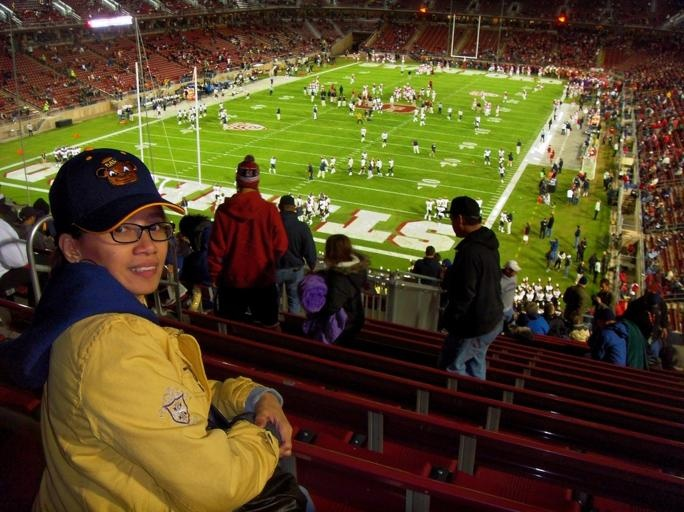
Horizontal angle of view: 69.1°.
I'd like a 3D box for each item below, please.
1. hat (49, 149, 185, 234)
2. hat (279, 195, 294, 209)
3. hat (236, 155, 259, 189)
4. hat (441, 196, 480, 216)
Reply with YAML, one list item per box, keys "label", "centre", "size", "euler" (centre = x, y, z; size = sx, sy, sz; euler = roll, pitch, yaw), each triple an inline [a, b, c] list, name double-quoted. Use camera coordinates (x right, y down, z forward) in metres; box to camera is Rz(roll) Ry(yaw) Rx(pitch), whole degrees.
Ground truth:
- label: "hat"
  centre: [-0.815, -0.225, 1.779]
  size: [0.404, 0.207, 0.290]
  euler: [1, 15, 29]
- label: "hat"
  centre: [-0.741, -0.759, 6.947]
  size: [0.197, 0.195, 0.197]
  euler: [-4, -10, 31]
- label: "hat"
  centre: [-1.040, -0.887, 5.469]
  size: [0.233, 0.279, 0.176]
  euler: [0, 14, -11]
- label: "hat"
  centre: [1.211, -0.516, 4.943]
  size: [0.224, 0.175, 0.311]
  euler: [-4, 29, -13]
